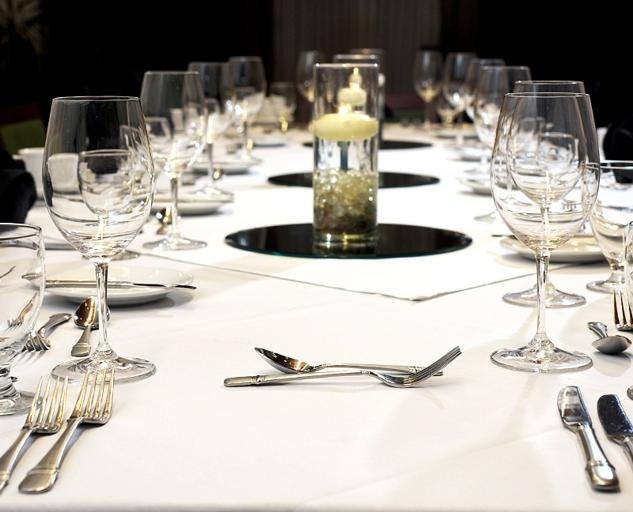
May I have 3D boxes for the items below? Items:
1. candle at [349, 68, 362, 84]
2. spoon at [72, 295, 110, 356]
[{"bbox_3d":[0.069,-0.320,1.073,0.024,0.028,0.015,-2,14,-9],"label":"candle"},{"bbox_3d":[-0.283,0.084,0.763,0.027,0.021,0.121,-1,17,-9],"label":"spoon"}]
